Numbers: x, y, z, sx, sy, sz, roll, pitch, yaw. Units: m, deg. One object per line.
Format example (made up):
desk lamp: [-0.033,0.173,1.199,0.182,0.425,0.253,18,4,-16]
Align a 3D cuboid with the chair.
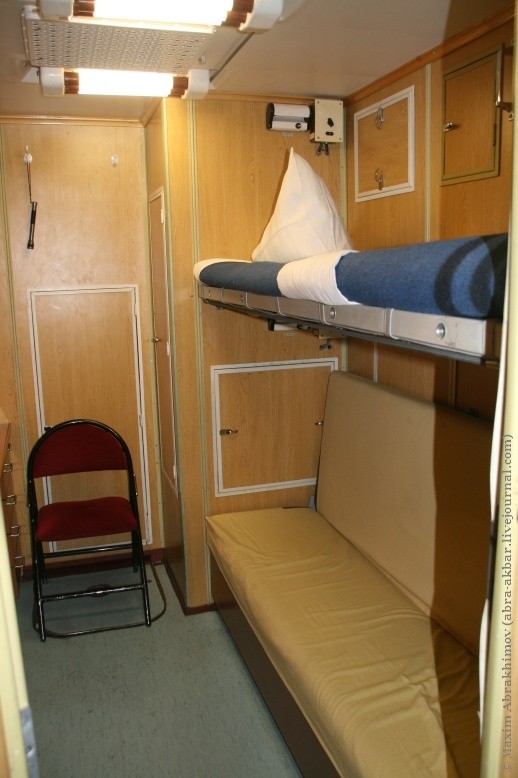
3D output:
chair: [-0.995,0.775,3.454,0.809,1.209,0.974,-4,7,-22]
